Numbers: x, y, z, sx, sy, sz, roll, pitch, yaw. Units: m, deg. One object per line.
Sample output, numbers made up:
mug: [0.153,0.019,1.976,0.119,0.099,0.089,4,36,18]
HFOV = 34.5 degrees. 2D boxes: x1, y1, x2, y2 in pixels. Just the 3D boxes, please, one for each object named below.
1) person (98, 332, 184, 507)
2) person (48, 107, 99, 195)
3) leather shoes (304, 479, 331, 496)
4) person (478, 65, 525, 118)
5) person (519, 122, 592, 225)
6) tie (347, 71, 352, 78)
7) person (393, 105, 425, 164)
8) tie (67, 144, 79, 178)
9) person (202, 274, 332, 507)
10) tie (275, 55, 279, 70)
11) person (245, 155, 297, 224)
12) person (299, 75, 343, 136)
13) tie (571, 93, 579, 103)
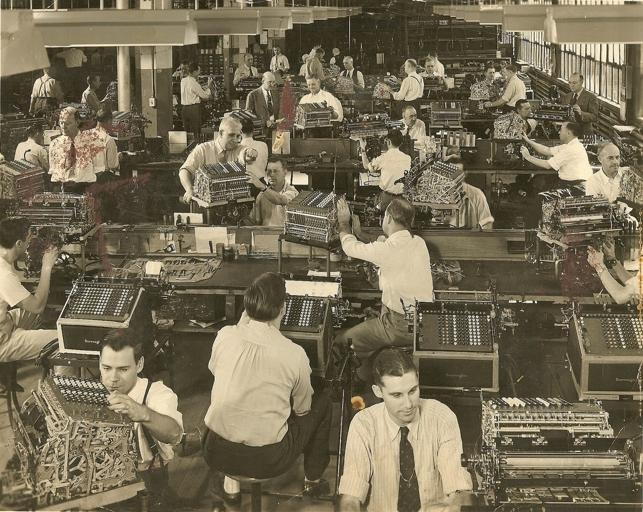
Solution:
person: [-1.215,1.222,7.089,0.515,1.410,0.662,-4,15,-14]
person: [-2.847,-1.223,12.016,0.580,0.966,0.194,-5,14,-16]
leather shoes: [-0.026,1.726,7.798,0.189,0.170,0.101,-3,11,-11]
person: [2.944,-2.710,16.693,0.627,0.708,1.429,3,18,11]
person: [2.745,-0.955,12.214,0.806,1.334,1.185,-3,16,-7]
tie: [0.523,-3.258,18.470,0.063,0.123,0.195,6,18,25]
person: [1.173,-1.460,13.701,0.337,1.048,0.556,-2,17,4]
tie: [-2.876,-1.125,11.982,0.108,0.404,0.103,-10,17,-34]
person: [-0.429,0.836,7.228,0.835,1.251,0.537,-5,15,-18]
tie: [-0.883,-3.988,21.149,0.120,0.222,0.234,0,16,1]
person: [-0.461,-0.624,10.150,0.478,0.705,0.842,-1,16,-3]
person: [-0.016,-1.970,13.866,0.558,0.933,0.402,-15,-15,-4]
tie: [3.510,-2.204,14.372,0.027,0.128,0.057,-1,3,-41]
